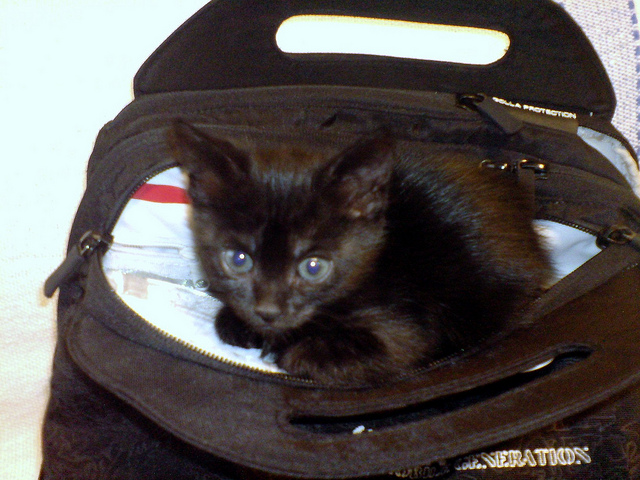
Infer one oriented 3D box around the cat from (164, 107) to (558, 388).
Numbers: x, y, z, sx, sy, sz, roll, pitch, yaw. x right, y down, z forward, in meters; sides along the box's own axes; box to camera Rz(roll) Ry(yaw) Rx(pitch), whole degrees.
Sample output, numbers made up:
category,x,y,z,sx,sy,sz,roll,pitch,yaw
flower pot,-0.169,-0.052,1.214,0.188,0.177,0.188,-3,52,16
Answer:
category,x,y,z,sx,sy,sz,roll,pitch,yaw
cat,0.063,0.023,1.349,0.492,0.199,0.384,12,93,-1
